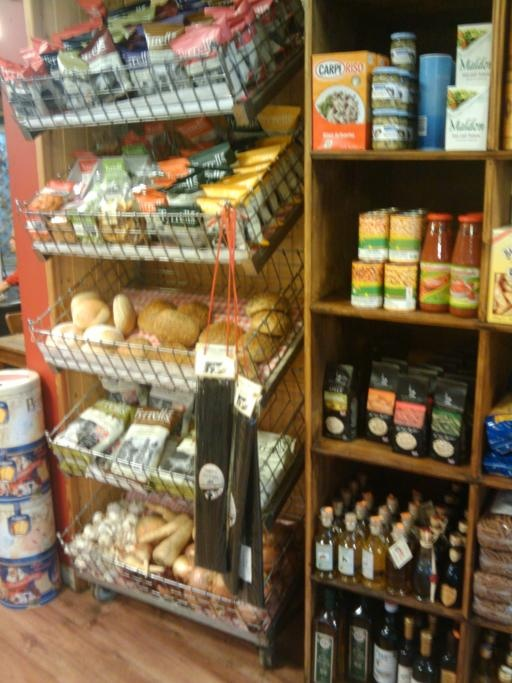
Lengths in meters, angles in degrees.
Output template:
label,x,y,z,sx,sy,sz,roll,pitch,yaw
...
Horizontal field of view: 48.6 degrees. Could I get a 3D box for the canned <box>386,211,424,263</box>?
label,x,y,z,sx,sy,sz,roll,pitch,yaw
canned,0.356,-0.245,1.352,0.076,0.131,0.081,7,20,26

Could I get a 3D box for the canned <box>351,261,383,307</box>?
label,x,y,z,sx,sy,sz,roll,pitch,yaw
canned,0.284,-0.149,1.440,0.092,0.116,0.096,-7,15,-20

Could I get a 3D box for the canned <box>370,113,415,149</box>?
label,x,y,z,sx,sy,sz,roll,pitch,yaw
canned,0.311,-0.483,1.290,0.068,0.098,0.125,14,31,29

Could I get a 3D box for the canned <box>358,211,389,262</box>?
label,x,y,z,sx,sy,sz,roll,pitch,yaw
canned,0.292,-0.257,1.403,0.070,0.114,0.038,2,8,21

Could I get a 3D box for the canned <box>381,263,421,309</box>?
label,x,y,z,sx,sy,sz,roll,pitch,yaw
canned,0.351,-0.132,1.375,0.080,0.116,0.048,1,8,16

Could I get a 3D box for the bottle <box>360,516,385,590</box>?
label,x,y,z,sx,sy,sz,roll,pitch,yaw
bottle,0.326,0.585,1.555,0.061,0.198,0.072,4,14,32

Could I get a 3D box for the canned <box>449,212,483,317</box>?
label,x,y,z,sx,sy,sz,roll,pitch,yaw
canned,0.470,-0.166,1.265,0.062,0.231,0.059,5,20,22

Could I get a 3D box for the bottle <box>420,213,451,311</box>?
label,x,y,z,sx,sy,sz,roll,pitch,yaw
bottle,0.420,-0.176,1.322,0.066,0.241,0.059,11,22,35

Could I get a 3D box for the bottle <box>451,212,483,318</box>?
label,x,y,z,sx,sy,sz,roll,pitch,yaw
bottle,0.470,-0.174,1.263,0.089,0.220,0.077,4,11,28
